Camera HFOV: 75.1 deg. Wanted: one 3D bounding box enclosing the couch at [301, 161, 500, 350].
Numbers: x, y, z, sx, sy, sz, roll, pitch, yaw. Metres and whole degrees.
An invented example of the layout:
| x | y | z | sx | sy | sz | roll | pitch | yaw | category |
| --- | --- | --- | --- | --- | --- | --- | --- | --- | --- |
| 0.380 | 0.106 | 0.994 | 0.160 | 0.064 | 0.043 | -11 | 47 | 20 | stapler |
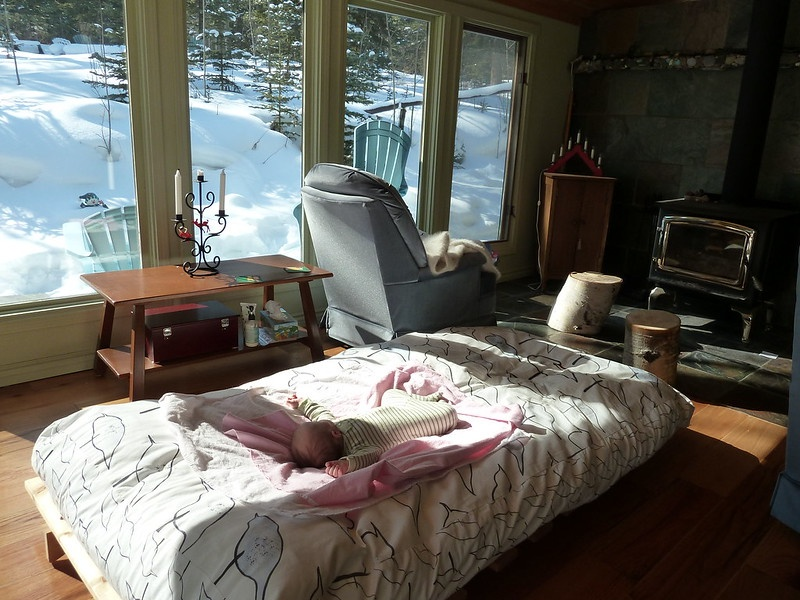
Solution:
| x | y | z | sx | sy | sz | roll | pitch | yaw | category |
| --- | --- | --- | --- | --- | --- | --- | --- | --- | --- |
| 0.027 | -0.235 | 3.284 | 0.857 | 1.006 | 1.217 | 14 | 15 | 43 | couch |

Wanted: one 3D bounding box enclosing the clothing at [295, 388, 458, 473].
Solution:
| x | y | z | sx | sy | sz | roll | pitch | yaw | category |
| --- | --- | --- | --- | --- | --- | --- | --- | --- | --- |
| -0.101 | 0.403 | 1.776 | 0.326 | 0.073 | 0.284 | -7 | 5 | -34 | clothing |

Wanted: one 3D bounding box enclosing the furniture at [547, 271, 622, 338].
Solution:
| x | y | z | sx | sy | sz | roll | pitch | yaw | category |
| --- | --- | --- | --- | --- | --- | --- | --- | --- | --- |
| 1.310 | 0.033 | 3.737 | 0.395 | 0.401 | 0.398 | 9 | 7 | 25 | furniture |

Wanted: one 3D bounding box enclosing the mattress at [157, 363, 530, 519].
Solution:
| x | y | z | sx | sy | sz | roll | pitch | yaw | category |
| --- | --- | --- | --- | --- | --- | --- | --- | --- | --- |
| -0.248 | 0.467 | 1.749 | 0.613 | 0.067 | 0.593 | -8 | 20 | -28 | mattress |

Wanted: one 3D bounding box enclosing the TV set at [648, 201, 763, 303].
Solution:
| x | y | z | sx | sy | sz | roll | pitch | yaw | category |
| --- | --- | --- | --- | --- | --- | --- | --- | --- | --- |
| 2.207 | -0.359 | 3.759 | 0.371 | 0.543 | 0.662 | -11 | 25 | -36 | TV set |

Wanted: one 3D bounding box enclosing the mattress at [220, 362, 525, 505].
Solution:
| x | y | z | sx | sy | sz | roll | pitch | yaw | category |
| --- | --- | --- | --- | --- | --- | --- | --- | --- | --- |
| 0.023 | 0.478 | 1.669 | 0.521 | 0.090 | 0.511 | -14 | 19 | -29 | mattress |
